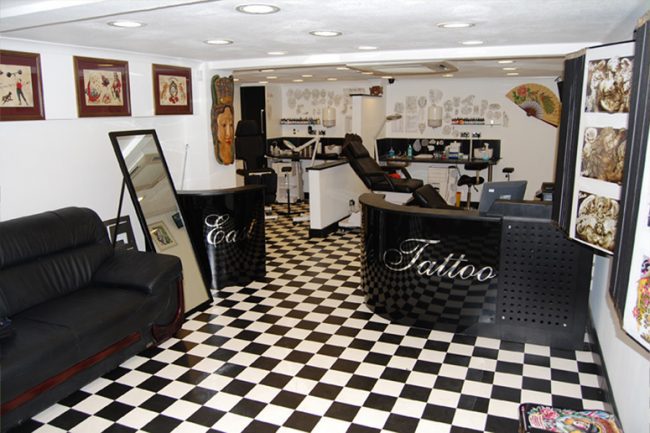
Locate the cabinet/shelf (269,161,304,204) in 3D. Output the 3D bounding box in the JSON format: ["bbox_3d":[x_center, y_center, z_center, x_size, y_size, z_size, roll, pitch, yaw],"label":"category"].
[{"bbox_3d":[-0.977,-0.906,11.151,0.798,0.987,0.736,-3,13,5],"label":"cabinet/shelf"}]

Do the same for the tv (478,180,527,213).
[{"bbox_3d":[2.026,-0.227,4.735,0.478,0.325,0.479,5,16,20],"label":"tv"}]

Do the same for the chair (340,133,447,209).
[{"bbox_3d":[1.066,-0.870,7.871,2.323,1.781,1.285,-2,9,14],"label":"chair"}]

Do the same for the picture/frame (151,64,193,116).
[{"bbox_3d":[-2.298,-1.892,6.138,0.063,0.778,0.833,6,14,29],"label":"picture/frame"}]

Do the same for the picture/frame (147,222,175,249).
[{"bbox_3d":[-2.175,0.261,5.437,0.023,0.320,0.304,-18,12,28],"label":"picture/frame"}]
